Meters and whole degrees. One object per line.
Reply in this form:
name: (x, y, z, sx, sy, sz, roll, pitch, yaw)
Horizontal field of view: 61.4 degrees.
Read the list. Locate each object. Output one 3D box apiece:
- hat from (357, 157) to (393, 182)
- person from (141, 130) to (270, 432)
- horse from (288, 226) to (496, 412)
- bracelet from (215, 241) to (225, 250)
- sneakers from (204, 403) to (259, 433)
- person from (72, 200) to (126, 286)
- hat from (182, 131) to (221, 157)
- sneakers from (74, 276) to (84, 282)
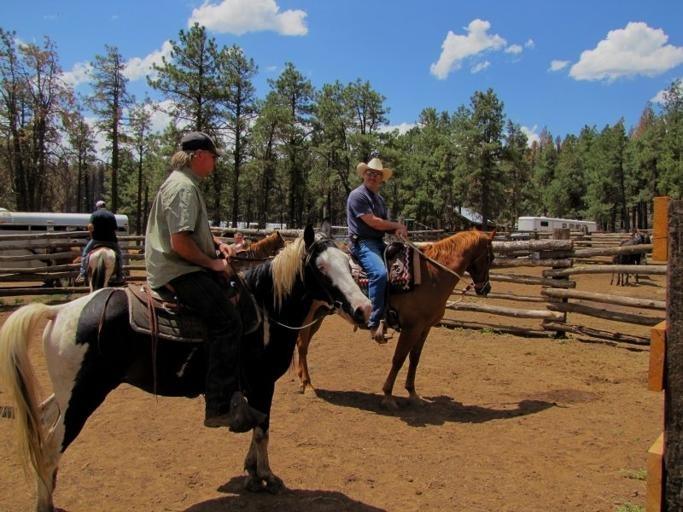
hat: (0.547, -1.456, 9.290, 0.481, 0.250, 0.582, 11, -28, 5)
person: (-1.440, 0.294, 6.143, 1.221, 3.228, 0.636, 4, 9, 27)
horse: (0.835, 1.119, 9.203, 2.524, 2.552, 0.852, 1, -4, -3)
bracelet: (-1.398, -0.123, 6.592, 0.108, 0.059, 0.145, 12, -11, -34)
sneakers: (-1.135, 1.716, 6.077, 0.483, 0.267, 0.300, 0, 10, 4)
person: (-5.251, -0.338, 12.597, 0.828, 1.920, 1.433, 0, 14, -25)
hat: (-1.541, -1.227, 6.261, 0.338, 0.217, 0.238, -8, 15, -36)
sneakers: (-6.968, 0.591, 15.286, 0.264, 0.126, 0.351, 0, -4, -20)
